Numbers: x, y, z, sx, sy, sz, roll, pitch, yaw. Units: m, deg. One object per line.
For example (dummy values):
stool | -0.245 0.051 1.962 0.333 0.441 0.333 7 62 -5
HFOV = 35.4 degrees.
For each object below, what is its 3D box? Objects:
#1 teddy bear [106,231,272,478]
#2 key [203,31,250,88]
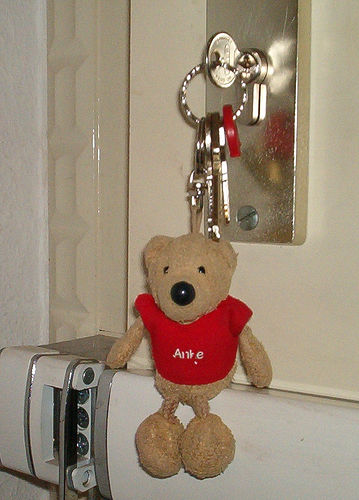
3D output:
teddy bear | 0.016 0.112 0.598 0.136 0.253 0.108 4 13 25
key | 0.053 -0.222 0.665 0.051 0.063 0.097 -1 11 0
